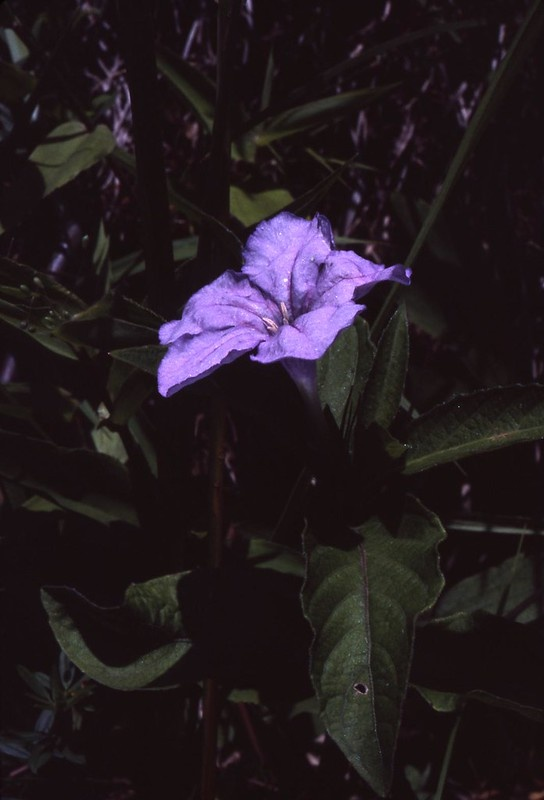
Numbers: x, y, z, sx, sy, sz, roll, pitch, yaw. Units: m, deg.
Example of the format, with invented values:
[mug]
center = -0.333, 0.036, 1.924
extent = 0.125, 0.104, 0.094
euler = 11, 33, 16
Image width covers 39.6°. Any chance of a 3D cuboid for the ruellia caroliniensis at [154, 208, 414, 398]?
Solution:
[ruellia caroliniensis]
center = -0.006, -0.069, 0.570
extent = 0.162, 0.116, 0.162
euler = -15, 32, -35
